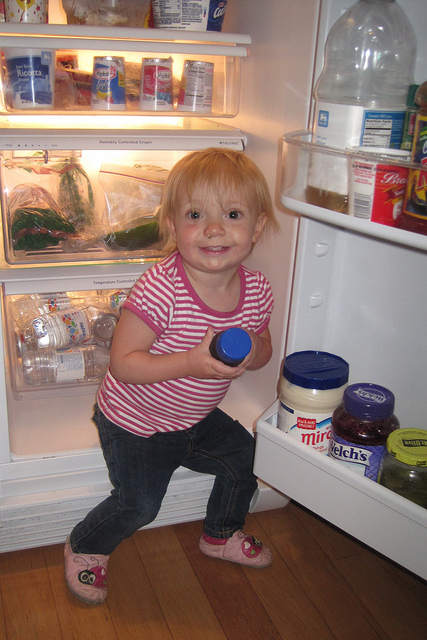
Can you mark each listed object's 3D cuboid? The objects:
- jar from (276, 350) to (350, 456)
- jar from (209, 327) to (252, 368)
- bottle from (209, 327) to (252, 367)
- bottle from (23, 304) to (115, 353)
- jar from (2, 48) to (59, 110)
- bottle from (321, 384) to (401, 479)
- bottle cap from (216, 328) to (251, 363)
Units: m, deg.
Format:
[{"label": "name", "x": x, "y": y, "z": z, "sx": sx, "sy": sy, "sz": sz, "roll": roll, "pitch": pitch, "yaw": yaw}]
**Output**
[{"label": "jar", "x": 0.158, "y": 0.158, "z": 0.765, "sx": 0.109, "sy": 0.175, "sz": 0.109, "roll": 7, "pitch": 19, "yaw": -2}, {"label": "jar", "x": 0.024, "y": 0.036, "z": 0.604, "sx": 0.051, "sy": 0.051, "sz": 0.046, "roll": 7, "pitch": -19, "yaw": -23}, {"label": "bottle", "x": 0.026, "y": 0.035, "z": 0.604, "sx": 0.059, "sy": 0.064, "sz": 0.034, "roll": -7, "pitch": 20, "yaw": -30}, {"label": "bottle", "x": -0.373, "y": 0.022, "z": 1.177, "sx": 0.235, "sy": 0.105, "sz": 0.079, "roll": -8, "pitch": 16, "yaw": -33}, {"label": "jar", "x": -0.336, "y": -0.456, "z": 0.850, "sx": 0.097, "sy": 0.113, "sz": 0.086, "roll": -8, "pitch": 17, "yaw": -35}, {"label": "bottle", "x": 0.232, "y": 0.183, "z": 0.699, "sx": 0.099, "sy": 0.153, "sz": 0.098, "roll": 2, "pitch": 22, "yaw": -1}, {"label": "bottle cap", "x": 0.030, "y": 0.036, "z": 0.611, "sx": 0.051, "sy": 0.047, "sz": 0.026, "roll": -6, "pitch": 16, "yaw": -30}]
